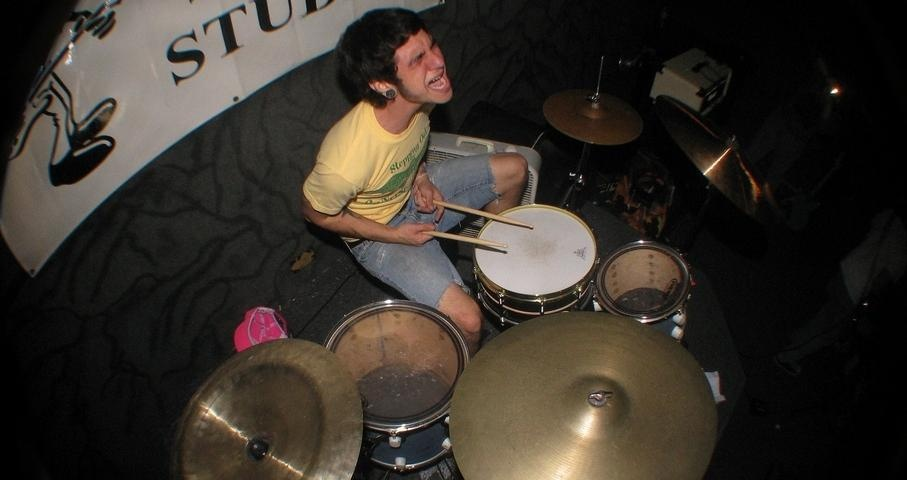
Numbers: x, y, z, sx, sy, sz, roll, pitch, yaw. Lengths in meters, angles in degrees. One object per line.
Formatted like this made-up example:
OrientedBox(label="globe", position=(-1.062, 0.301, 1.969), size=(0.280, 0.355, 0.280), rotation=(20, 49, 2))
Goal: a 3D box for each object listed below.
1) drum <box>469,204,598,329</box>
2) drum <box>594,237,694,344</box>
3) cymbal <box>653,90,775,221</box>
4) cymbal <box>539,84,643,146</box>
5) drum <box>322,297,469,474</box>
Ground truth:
OrientedBox(label="drum", position=(0.619, 0.272, 4.712), size=(0.837, 0.587, 0.826), rotation=(-1, 62, 1))
OrientedBox(label="drum", position=(1.358, 0.344, 4.614), size=(0.734, 0.813, 0.729), rotation=(-10, 74, 22))
OrientedBox(label="cymbal", position=(1.888, -0.625, 4.514), size=(0.900, 0.206, 0.909), rotation=(50, 29, 2))
OrientedBox(label="cymbal", position=(1.117, -1.103, 5.040), size=(0.873, 0.197, 0.860), rotation=(-7, 44, -22))
OrientedBox(label="drum", position=(-0.342, 1.045, 4.235), size=(1.106, 0.799, 1.068), rotation=(5, 52, -6))
